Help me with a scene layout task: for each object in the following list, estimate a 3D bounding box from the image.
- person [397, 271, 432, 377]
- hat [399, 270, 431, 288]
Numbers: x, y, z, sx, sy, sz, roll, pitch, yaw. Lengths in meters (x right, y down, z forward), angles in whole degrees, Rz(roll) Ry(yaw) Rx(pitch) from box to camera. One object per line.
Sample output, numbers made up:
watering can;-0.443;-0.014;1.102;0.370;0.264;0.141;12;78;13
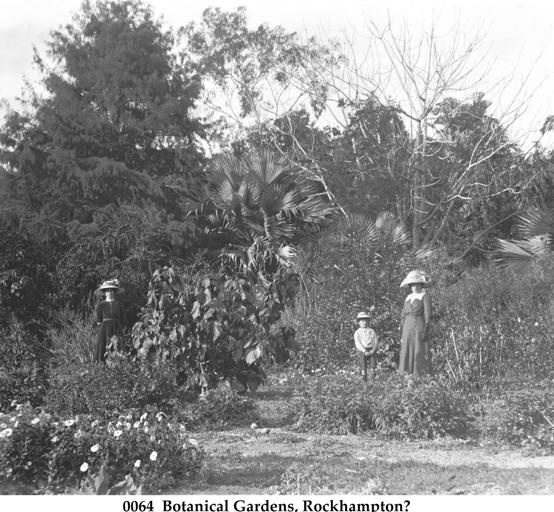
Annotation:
person;2.038;1.039;9.050;0.454;1.392;1.002;6;12;12
hat;2.143;0.340;9.441;0.446;0.253;0.454;4;-9;-38
